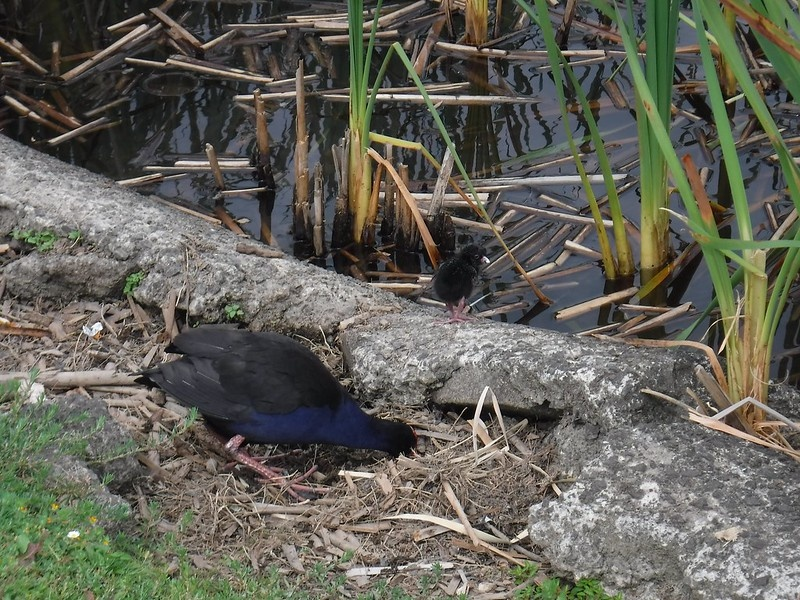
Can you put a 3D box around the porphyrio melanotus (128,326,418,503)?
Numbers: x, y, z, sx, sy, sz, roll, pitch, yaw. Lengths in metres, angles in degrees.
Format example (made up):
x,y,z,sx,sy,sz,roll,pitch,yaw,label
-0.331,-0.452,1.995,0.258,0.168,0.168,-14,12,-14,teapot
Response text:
x,y,z,sx,sy,sz,roll,pitch,yaw,label
-0.755,0.665,5.619,1.842,0.763,0.766,19,28,13,porphyrio melanotus
